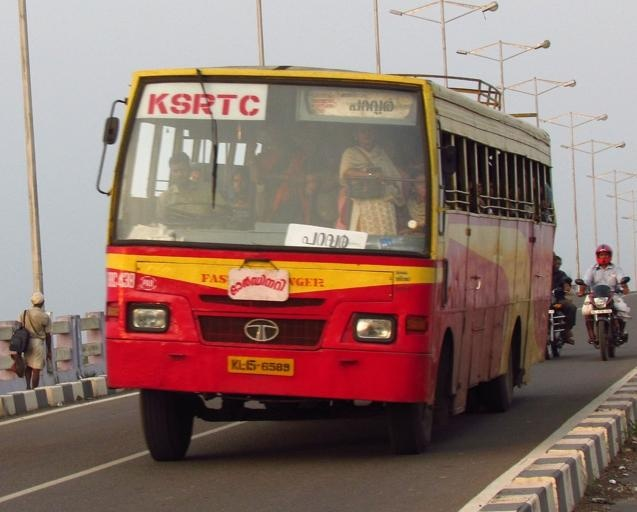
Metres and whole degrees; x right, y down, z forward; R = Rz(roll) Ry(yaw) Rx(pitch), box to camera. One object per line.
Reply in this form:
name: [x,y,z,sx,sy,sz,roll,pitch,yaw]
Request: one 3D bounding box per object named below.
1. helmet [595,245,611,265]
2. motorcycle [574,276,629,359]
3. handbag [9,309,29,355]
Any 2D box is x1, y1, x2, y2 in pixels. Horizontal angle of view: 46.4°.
helmet: [6.168,-0.020,15.963,0.283,0.421,0.398,-6,-10,24]
motorcycle: [6.227,1.351,16.091,0.915,1.783,1.488,-6,-10,23]
handbag: [-5.345,1.353,13.298,0.341,0.802,0.576,1,-10,-21]
